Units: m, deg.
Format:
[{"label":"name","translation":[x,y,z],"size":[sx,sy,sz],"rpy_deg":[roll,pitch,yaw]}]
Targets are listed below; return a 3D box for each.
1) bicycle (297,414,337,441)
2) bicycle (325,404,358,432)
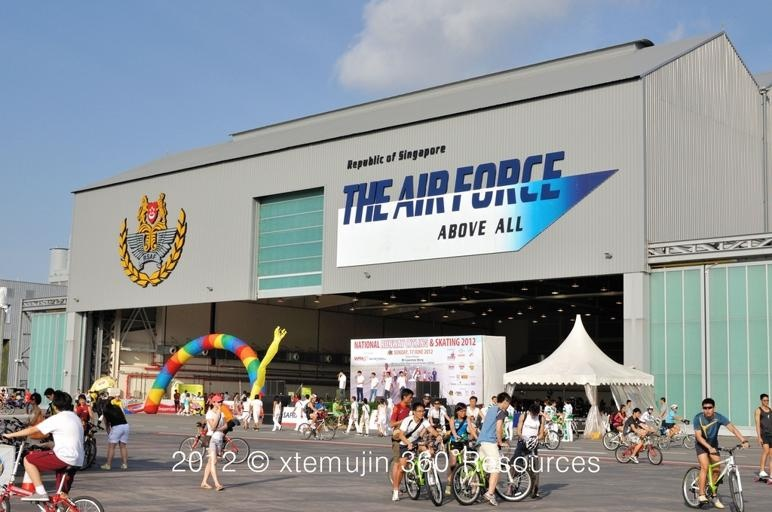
[{"label":"bicycle","translation":[-3.308,8.513,38.389],"size":[1.942,1.243,0.996],"rpy_deg":[-7,-11,30]},{"label":"bicycle","translation":[-2.691,9.567,46.570],"size":[1.333,1.550,2.436],"rpy_deg":[8,-16,-31]}]
